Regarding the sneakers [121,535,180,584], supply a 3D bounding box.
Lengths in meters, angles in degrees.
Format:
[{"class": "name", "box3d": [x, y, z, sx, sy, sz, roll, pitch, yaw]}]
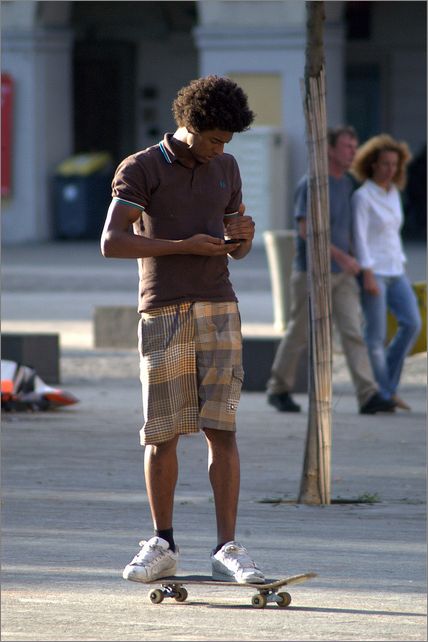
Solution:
[{"class": "sneakers", "box3d": [-0.211, 0.848, 6.797, 0.091, 0.148, 0.233, 17, 10, 36]}]

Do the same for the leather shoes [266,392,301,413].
[{"class": "leather shoes", "box3d": [0.344, 0.413, 9.364, 0.062, 0.100, 0.183, -1, 5, -41]}]

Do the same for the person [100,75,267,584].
[{"class": "person", "box3d": [-0.110, 0.038, 6.788, 0.554, 1.746, 0.560, -1, 11, -4]}]

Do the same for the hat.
[{"class": "hat", "box3d": [0.803, -0.743, 9.226, 0.199, 0.280, 0.259, 2, 1, -6]}]

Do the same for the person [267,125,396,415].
[{"class": "person", "box3d": [0.508, -0.167, 9.036, 0.443, 1.397, 1.322, 0, 12, -3]}]

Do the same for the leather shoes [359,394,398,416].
[{"class": "leather shoes", "box3d": [0.727, 0.386, 8.436, 0.181, 0.103, 0.070, -9, 14, 2]}]

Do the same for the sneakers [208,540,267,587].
[{"class": "sneakers", "box3d": [0.084, 0.859, 6.708, 0.078, 0.128, 0.253, 0, -7, -26]}]
